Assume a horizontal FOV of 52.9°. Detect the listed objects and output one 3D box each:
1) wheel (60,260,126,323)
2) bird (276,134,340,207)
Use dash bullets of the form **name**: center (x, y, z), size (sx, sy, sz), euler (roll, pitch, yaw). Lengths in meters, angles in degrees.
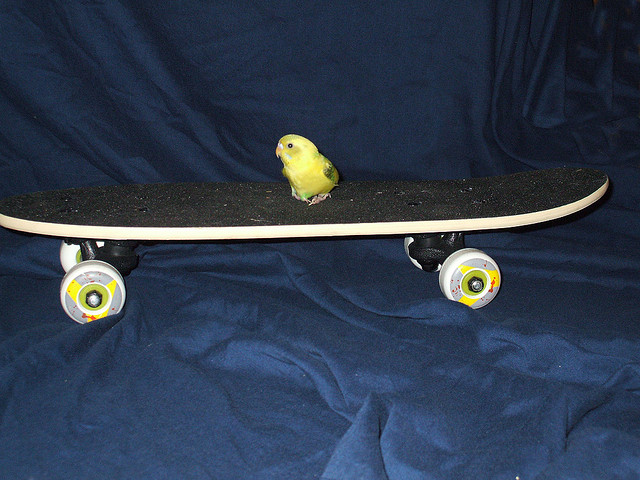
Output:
- **wheel**: center (-0.752, 0.178, 2.143), size (0.189, 0.080, 0.192), euler (-3, -73, -11)
- **bird**: center (-0.039, -0.282, 2.148), size (0.155, 0.245, 0.232), euler (31, -38, 27)
